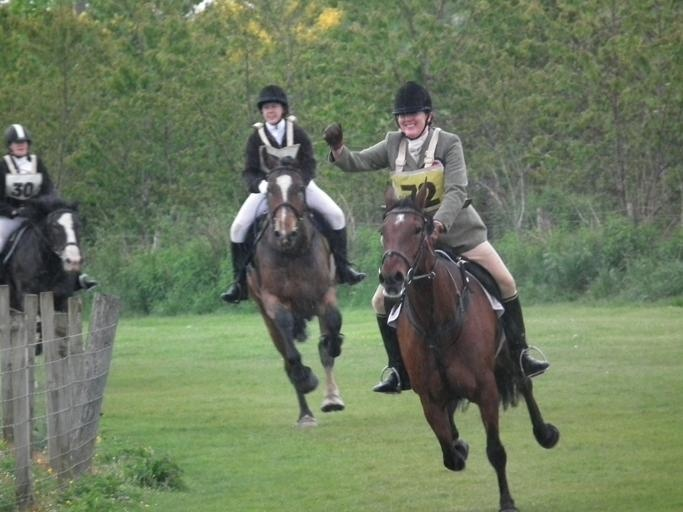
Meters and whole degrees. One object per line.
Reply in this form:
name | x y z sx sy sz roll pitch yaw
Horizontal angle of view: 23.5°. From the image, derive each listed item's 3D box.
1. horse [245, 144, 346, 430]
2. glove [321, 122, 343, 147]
horse | -1.163 1.217 42.091 2.381 6.074 8.945 -7 -14 -4
glove | -0.228 -2.792 38.061 0.422 0.593 0.317 -2 0 -1
